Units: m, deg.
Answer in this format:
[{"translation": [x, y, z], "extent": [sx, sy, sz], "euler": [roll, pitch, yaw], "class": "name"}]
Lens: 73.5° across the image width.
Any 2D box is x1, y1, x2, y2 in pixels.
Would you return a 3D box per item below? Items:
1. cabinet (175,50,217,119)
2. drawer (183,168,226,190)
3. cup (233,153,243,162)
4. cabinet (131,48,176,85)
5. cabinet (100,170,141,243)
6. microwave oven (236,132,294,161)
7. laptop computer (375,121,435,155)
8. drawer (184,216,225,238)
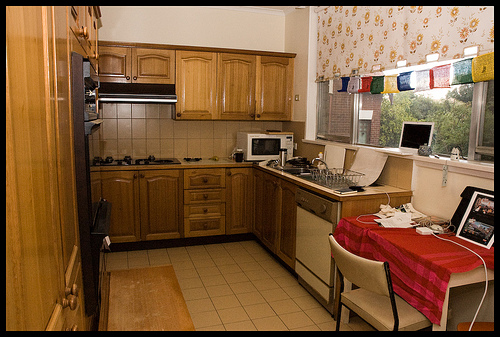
[{"translation": [-0.561, -1.110, 4.535], "extent": [0.721, 0.944, 0.596], "euler": [12, 17, 34], "class": "cabinet"}, {"translation": [-0.558, 0.176, 4.407], "extent": [0.548, 0.249, 0.364], "euler": [-1, -11, 1], "class": "drawer"}, {"translation": [-0.161, -0.156, 4.524], "extent": [0.126, 0.088, 0.118], "euler": [2, 7, 0], "class": "cup"}, {"translation": [-1.175, -1.298, 4.279], "extent": [0.594, 0.453, 0.334], "euler": [3, 11, 5], "class": "cabinet"}, {"translation": [-1.660, 0.575, 4.197], "extent": [0.518, 0.861, 0.478], "euler": [1, -31, -28], "class": "cabinet"}, {"translation": [0.149, -0.304, 4.608], "extent": [0.640, 0.341, 0.425], "euler": [-2, 7, -21], "class": "microwave oven"}, {"translation": [1.370, -0.275, 2.996], "extent": [0.331, 0.288, 0.383], "euler": [0, 9, -10], "class": "laptop computer"}, {"translation": [-0.597, 0.742, 4.306], "extent": [0.450, 0.200, 0.279], "euler": [-1, 2, -21], "class": "drawer"}]
